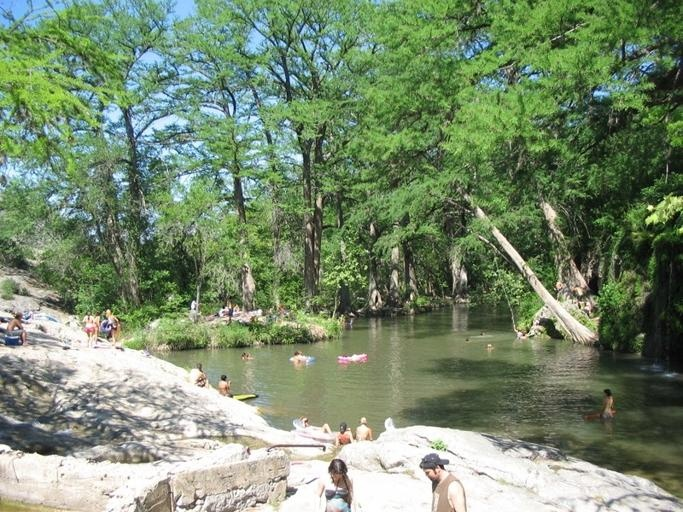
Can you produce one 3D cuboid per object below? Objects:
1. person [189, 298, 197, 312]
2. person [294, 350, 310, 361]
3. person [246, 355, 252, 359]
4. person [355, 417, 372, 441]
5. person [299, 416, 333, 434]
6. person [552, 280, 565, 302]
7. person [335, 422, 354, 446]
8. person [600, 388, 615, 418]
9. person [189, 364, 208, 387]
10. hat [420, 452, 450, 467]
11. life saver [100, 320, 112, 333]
[{"bbox_3d":[-11.608,3.873,50.503,0.498,0.637,1.568,11,-6,-12],"label":"person"},{"bbox_3d":[-2.312,5.690,36.316,0.691,0.367,0.542,-1,-6,41],"label":"person"},{"bbox_3d":[-5.327,5.892,37.095,0.298,0.303,0.947,-2,-10,-8],"label":"person"},{"bbox_3d":[0.811,6.450,23.695,0.504,1.056,0.578,4,22,11],"label":"person"},{"bbox_3d":[-1.056,6.432,24.011,1.030,0.510,0.581,5,-17,20],"label":"person"},{"bbox_3d":[14.237,2.383,42.325,0.340,1.097,0.816,1,19,14],"label":"person"},{"bbox_3d":[0.089,6.534,23.345,0.391,0.448,0.918,6,-47,9],"label":"person"},{"bbox_3d":[10.629,5.924,25.864,0.562,1.111,2.421,-6,-10,22],"label":"person"},{"bbox_3d":[-6.169,5.183,27.769,0.717,0.998,1.932,-2,-10,-5],"label":"person"},{"bbox_3d":[2.071,4.700,14.644,0.505,0.228,0.348,-7,14,-18],"label":"hat"},{"bbox_3d":[-11.595,3.549,31.849,0.469,0.592,0.693,0,-9,-22],"label":"life saver"}]
